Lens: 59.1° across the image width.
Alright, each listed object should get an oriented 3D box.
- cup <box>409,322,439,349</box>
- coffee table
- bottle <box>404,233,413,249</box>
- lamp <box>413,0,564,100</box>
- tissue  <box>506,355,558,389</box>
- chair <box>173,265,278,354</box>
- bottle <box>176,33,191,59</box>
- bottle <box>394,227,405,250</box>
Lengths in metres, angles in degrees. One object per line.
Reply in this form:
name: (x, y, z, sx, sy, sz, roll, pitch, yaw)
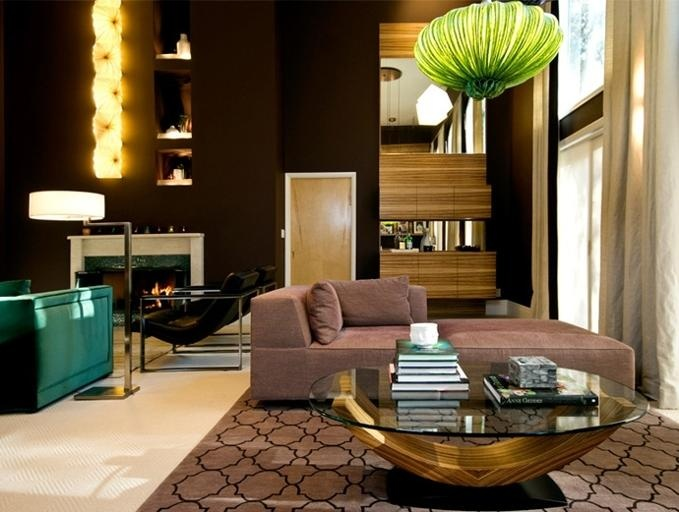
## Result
cup: (0.501, 0.476, 3.549, 0.143, 0.105, 0.140, -1, 1, 0)
coffee table: (0.749, 1.035, 3.402, 1.825, 0.770, 0.728, -2, 2, -4)
bottle: (0.930, -0.194, 8.108, 0.108, 0.208, 0.206, -1, 2, 7)
lamp: (1.101, -1.425, 4.495, 0.826, 0.692, 0.837, -2, -4, 13)
tissue : (1.083, 0.655, 3.404, 0.167, 0.113, 0.237, 0, -2, 4)
chair: (-1.277, 0.544, 5.509, 0.984, 0.720, 0.845, -2, 2, 7)
bottle: (-1.962, -2.603, 7.527, 0.183, 0.360, 0.250, -2, 2, -15)
bottle: (0.816, -0.248, 8.096, 0.156, 0.316, 0.224, -1, 2, 5)
